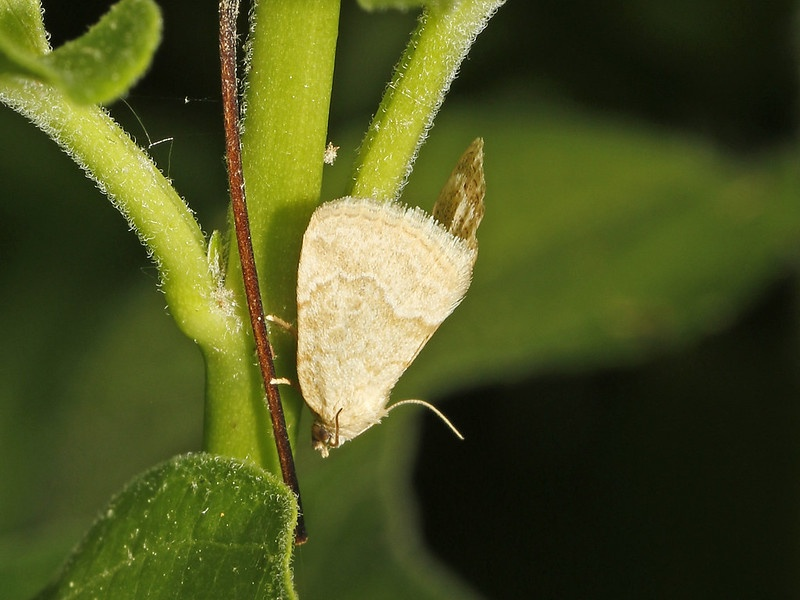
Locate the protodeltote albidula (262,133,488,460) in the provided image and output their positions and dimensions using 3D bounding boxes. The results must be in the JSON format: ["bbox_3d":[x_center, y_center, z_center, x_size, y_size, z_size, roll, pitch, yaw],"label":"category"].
[{"bbox_3d":[-0.031,0.001,0.957,0.251,0.319,0.072,1,11,-39],"label":"protodeltote albidula"}]
